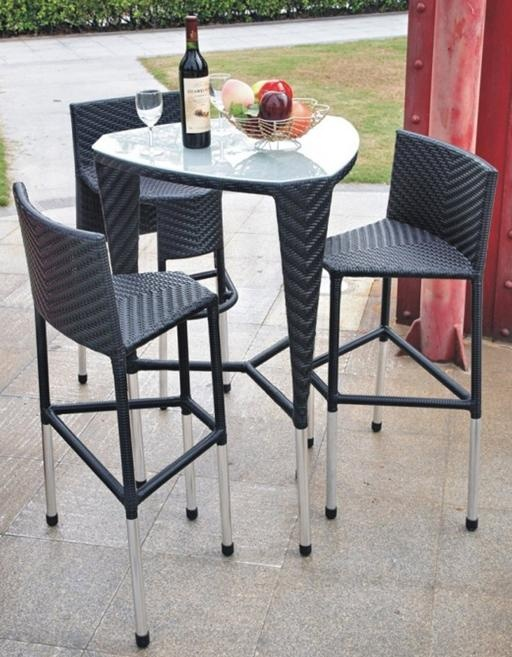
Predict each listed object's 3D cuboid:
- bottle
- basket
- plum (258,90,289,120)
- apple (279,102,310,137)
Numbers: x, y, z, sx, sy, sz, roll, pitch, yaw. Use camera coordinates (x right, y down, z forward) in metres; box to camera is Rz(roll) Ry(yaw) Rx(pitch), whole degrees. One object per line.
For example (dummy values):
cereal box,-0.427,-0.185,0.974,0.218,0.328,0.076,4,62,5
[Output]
bottle,-0.145,-0.555,1.471,0.072,0.285,0.131,-5,24,-5
basket,0.046,-0.466,1.497,0.226,0.076,0.224,0,-3,-43
plum,0.039,-0.480,1.400,0.062,0.064,0.062,0,8,-2
apple,0.094,-0.474,1.466,0.049,0.073,0.086,27,31,5
